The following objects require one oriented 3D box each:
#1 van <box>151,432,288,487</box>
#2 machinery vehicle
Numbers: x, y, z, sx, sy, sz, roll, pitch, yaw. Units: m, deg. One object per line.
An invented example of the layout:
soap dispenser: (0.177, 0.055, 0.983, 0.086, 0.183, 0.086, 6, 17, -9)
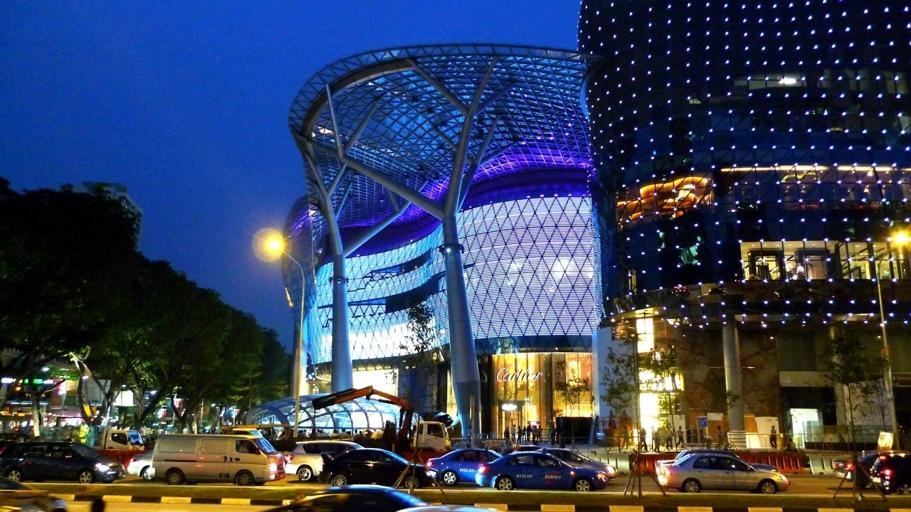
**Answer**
van: (-15.539, 13.109, 44.387, 8.071, 3.241, 3.152, -2, -10, 6)
machinery vehicle: (-5.974, 12.965, 54.088, 10.621, 5.402, 3.467, 2, -9, -2)
